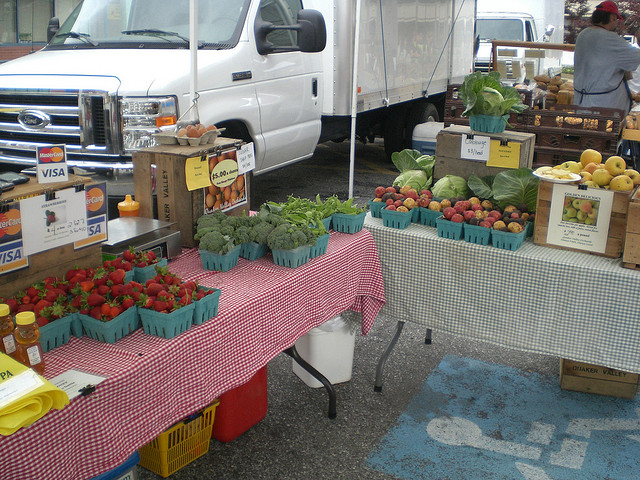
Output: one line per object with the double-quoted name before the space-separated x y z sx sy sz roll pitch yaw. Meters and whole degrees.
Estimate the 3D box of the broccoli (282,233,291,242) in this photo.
"broccoli" -0.191 -0.019 2.672 0.036 0.022 0.044 22 33 20

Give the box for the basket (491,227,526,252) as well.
"basket" 1.152 0.001 3.028 0.114 0.092 0.186 12 21 35

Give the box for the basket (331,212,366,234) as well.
"basket" 0.178 -0.118 3.276 0.136 0.099 0.187 8 16 28

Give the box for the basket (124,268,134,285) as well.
"basket" -0.881 0.166 2.237 0.042 0.060 0.051 8 17 22

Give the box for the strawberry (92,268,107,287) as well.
"strawberry" -0.947 0.165 2.087 0.053 0.027 0.074 25 54 -22

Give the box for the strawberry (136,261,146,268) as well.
"strawberry" -0.861 0.118 2.339 0.027 0.022 0.030 -1 8 41

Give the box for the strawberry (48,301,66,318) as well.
"strawberry" -1.054 0.282 1.940 0.049 0.037 0.053 6 55 -19

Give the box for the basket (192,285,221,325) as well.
"basket" -0.504 0.291 2.202 0.109 0.100 0.153 14 17 33

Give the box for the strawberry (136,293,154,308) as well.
"strawberry" -0.737 0.257 2.042 0.054 0.061 0.069 8 -10 8

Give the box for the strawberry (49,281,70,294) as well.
"strawberry" -1.100 0.196 2.050 0.085 0.030 0.035 29 35 14

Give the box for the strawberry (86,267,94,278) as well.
"strawberry" -1.012 0.146 2.140 0.032 0.042 0.033 -3 6 -23

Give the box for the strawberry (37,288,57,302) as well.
"strawberry" -1.105 0.227 1.978 0.067 0.051 0.047 12 60 -9

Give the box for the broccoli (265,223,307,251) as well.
"broccoli" -0.195 -0.016 2.744 0.144 0.087 0.170 -3 17 -5

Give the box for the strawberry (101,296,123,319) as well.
"strawberry" -0.855 0.281 1.991 0.058 0.060 0.025 31 -1 -7

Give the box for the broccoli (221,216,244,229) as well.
"broccoli" -0.505 -0.102 2.790 0.066 0.045 0.091 11 -3 17

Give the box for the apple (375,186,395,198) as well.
"apple" 0.475 -0.352 3.598 0.135 0.068 0.081 -6 3 2

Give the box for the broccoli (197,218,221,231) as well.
"broccoli" -0.634 -0.098 2.731 0.077 0.024 0.075 17 32 32

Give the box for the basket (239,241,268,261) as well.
"basket" -0.395 0.057 2.826 0.099 0.073 0.148 18 23 28

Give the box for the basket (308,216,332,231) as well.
"basket" 0.014 -0.113 3.175 0.114 0.061 0.075 -14 23 -38

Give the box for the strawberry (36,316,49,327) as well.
"strawberry" -1.088 0.319 1.904 0.037 0.033 0.055 22 15 23

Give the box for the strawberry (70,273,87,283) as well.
"strawberry" -1.030 0.164 2.074 0.067 0.045 0.045 -1 10 -20

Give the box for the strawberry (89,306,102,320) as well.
"strawberry" -0.914 0.297 1.988 0.056 0.038 0.033 17 28 37

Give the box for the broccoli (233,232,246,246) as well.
"broccoli" -0.452 -0.005 2.723 0.051 0.065 0.021 -12 -1 -18

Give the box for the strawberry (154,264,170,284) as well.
"strawberry" -0.747 0.159 2.250 0.072 0.070 0.078 20 47 -1

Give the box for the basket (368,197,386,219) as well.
"basket" 0.400 -0.228 3.532 0.128 0.089 0.094 9 20 30

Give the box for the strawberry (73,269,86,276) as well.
"strawberry" -1.065 0.144 2.156 0.029 0.044 0.030 0 -6 14

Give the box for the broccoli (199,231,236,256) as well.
"broccoli" -0.562 0.010 2.628 0.151 0.086 0.118 4 18 8

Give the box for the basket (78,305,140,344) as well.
"basket" -0.891 0.357 2.037 0.136 0.103 0.196 9 14 31

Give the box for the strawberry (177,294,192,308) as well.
"strawberry" -0.573 0.259 2.046 0.025 0.027 0.056 -28 33 42

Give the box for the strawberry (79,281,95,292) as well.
"strawberry" -0.977 0.195 2.039 0.044 0.035 0.036 -16 -8 -6

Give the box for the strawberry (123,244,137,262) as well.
"strawberry" -0.940 0.058 2.394 0.065 0.060 0.135 -12 25 -24
